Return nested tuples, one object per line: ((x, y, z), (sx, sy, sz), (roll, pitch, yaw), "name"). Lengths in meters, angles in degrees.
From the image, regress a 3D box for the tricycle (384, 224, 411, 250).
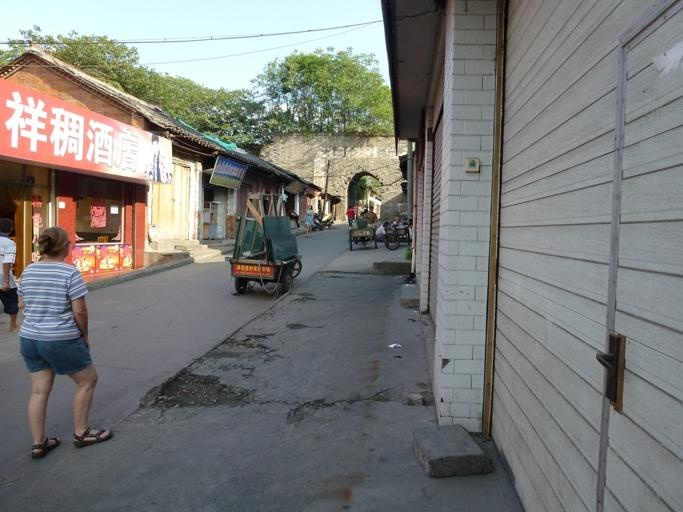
((2.316, -0.805, 20.544), (0.676, 0.871, 1.399), (1, 0, 44), "tricycle")

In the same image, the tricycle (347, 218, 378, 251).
((0.933, -0.927, 20.728), (0.880, 0.860, 1.467), (0, 17, 8), "tricycle")

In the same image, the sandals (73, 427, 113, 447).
((-2.105, 1.505, 4.334), (0.264, 0.109, 0.141), (-1, 4, -36), "sandals")

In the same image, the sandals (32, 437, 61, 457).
((-2.431, 1.571, 4.198), (0.086, 0.083, 0.246), (1, 7, 2), "sandals")

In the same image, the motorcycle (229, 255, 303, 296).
((-1.566, 0.391, 11.030), (1.229, 0.668, 1.808), (1, 4, 17), "motorcycle")

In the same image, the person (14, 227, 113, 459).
((-2.311, 0.688, 4.225), (0.612, 1.856, 0.318), (-4, 4, -26), "person")
